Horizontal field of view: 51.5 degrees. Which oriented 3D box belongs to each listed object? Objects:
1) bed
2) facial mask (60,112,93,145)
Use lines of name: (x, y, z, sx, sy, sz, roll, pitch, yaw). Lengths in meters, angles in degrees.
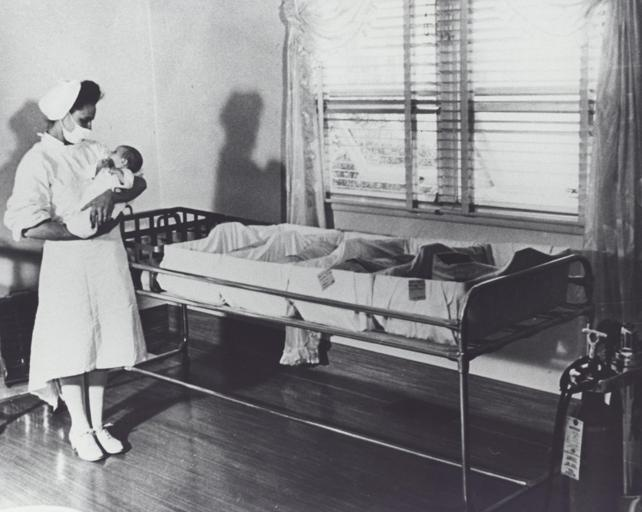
bed: (-0.057, 0.352, 3.303, 2.552, 1.015, 0.806, 7, 15, 34)
facial mask: (-1.136, -0.592, 3.093, 0.124, 0.077, 0.114, 10, 4, 3)
